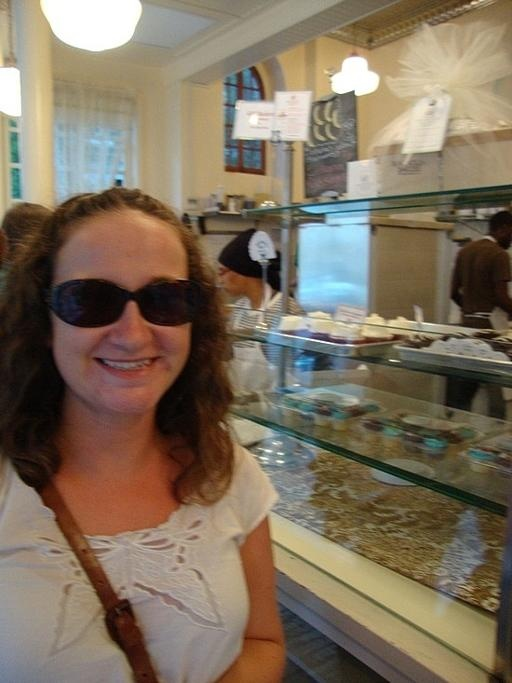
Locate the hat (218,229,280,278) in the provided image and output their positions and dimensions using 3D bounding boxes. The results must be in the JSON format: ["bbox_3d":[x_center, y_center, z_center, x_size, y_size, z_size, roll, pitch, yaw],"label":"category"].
[{"bbox_3d":[-0.089,-0.490,3.153,0.359,0.247,0.241,-14,29,-11],"label":"hat"}]

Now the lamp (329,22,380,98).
[{"bbox_3d":[0.868,-2.483,4.939,0.454,0.526,0.223,2,10,6],"label":"lamp"}]
